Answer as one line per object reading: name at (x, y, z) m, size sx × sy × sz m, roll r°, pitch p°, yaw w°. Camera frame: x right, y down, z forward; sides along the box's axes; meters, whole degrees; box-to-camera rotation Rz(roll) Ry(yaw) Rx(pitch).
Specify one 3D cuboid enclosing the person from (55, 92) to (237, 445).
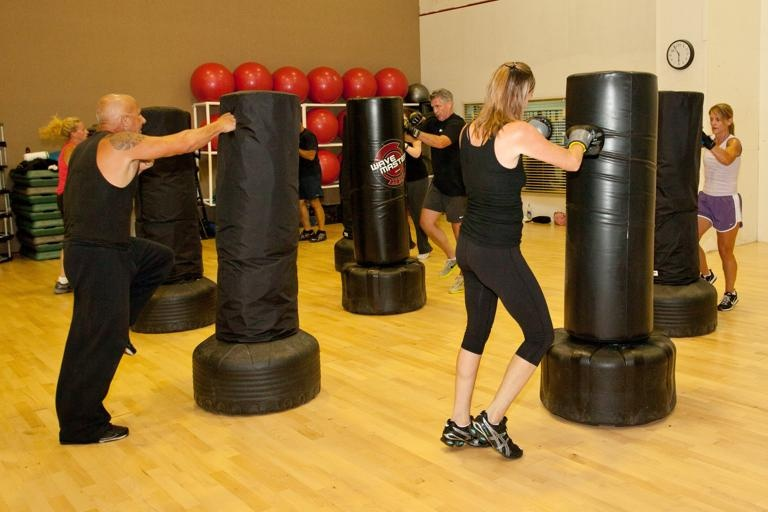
person at (-1.574, 0.037, 3.810) m, size 1.076 × 1.928 × 0.669 m, roll -12°, pitch 19°, yaw -27°

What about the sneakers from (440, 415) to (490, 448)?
sneakers at (0.482, 0.981, 3.523) m, size 0.322 × 0.139 × 0.118 m, roll 2°, pitch -2°, yaw -13°

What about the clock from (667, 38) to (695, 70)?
clock at (3.580, -2.427, 7.657) m, size 0.111 × 0.357 × 0.383 m, roll -11°, pitch 19°, yaw -24°

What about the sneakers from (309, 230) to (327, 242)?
sneakers at (-0.962, -0.284, 9.131) m, size 0.123 × 0.101 × 0.250 m, roll 0°, pitch 0°, yaw 27°

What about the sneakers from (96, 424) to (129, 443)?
sneakers at (-1.595, 1.033, 3.728) m, size 0.183 × 0.069 × 0.070 m, roll -10°, pitch 19°, yaw -30°

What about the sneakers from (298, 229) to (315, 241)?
sneakers at (-1.123, -0.302, 9.198) m, size 0.136 × 0.138 × 0.349 m, roll 1°, pitch 2°, yaw 13°

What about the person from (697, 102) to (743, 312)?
person at (3.021, -0.442, 5.657) m, size 0.401 × 1.743 × 1.016 m, roll 6°, pitch 19°, yaw 27°

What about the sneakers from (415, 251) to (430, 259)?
sneakers at (0.468, -0.001, 7.776) m, size 0.067 × 0.060 × 0.155 m, roll -1°, pitch 3°, yaw 26°

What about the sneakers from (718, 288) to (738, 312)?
sneakers at (2.990, 0.394, 5.505) m, size 0.096 × 0.096 × 0.271 m, roll 2°, pitch 10°, yaw 41°

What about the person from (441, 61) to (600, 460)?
person at (0.668, 0.047, 3.378) m, size 0.671 × 2.061 × 0.578 m, roll 2°, pitch 18°, yaw 15°

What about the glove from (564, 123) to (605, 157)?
glove at (1.082, -0.619, 3.404) m, size 0.156 × 0.194 × 0.091 m, roll 6°, pitch 53°, yaw 15°
